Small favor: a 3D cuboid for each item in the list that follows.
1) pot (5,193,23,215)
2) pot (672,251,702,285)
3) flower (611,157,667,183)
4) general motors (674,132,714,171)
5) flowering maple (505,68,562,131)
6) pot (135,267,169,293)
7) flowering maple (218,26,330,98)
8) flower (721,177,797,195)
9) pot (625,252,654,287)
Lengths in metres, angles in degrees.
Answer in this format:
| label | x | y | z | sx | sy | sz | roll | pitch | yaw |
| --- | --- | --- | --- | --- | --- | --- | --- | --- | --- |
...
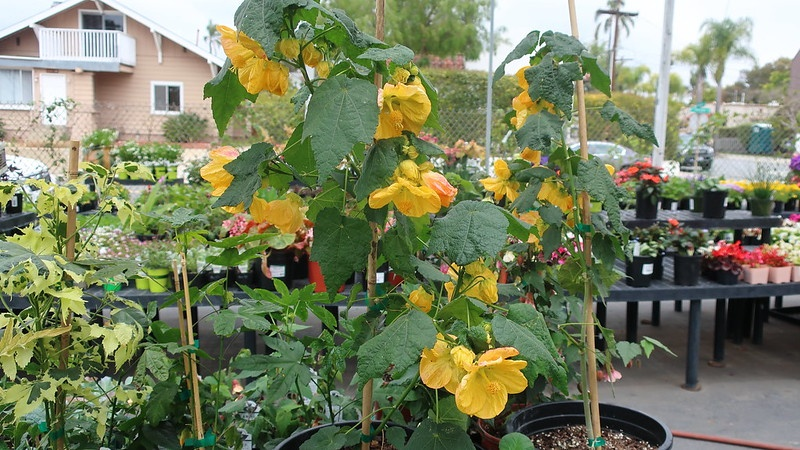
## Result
| label | x | y | z | sx | sy | sz | roll | pitch | yaw |
| --- | --- | --- | --- | --- | --- | --- | --- | --- | --- |
| pot | -4.048 | -0.216 | 7.557 | 0.142 | 0.213 | 0.410 | 1 | 6 | -12 |
| pot | 2.803 | 0.436 | 7.055 | 0.311 | 0.288 | 0.279 | 0 | 0 | -38 |
| flower | 2.662 | -0.564 | 7.853 | 0.384 | 0.208 | 0.396 | 3 | 5 | 30 |
| general motors | 4.804 | -1.128 | 11.621 | 0.473 | 0.545 | 7.028 | 5 | 6 | 22 |
| flowering maple | 0.946 | -0.903 | 5.208 | 0.361 | 0.452 | 0.282 | 5 | 7 | 24 |
| pot | -2.222 | 0.494 | 6.438 | 0.368 | 0.261 | 0.318 | 1 | 1 | -30 |
| flowering maple | -0.868 | -1.101 | 4.907 | 0.758 | 0.447 | 0.288 | 1 | 6 | -13 |
| flower | 4.660 | -0.468 | 9.025 | 0.619 | 0.218 | 0.612 | 1 | 9 | 2 |
| pot | 2.283 | 0.423 | 6.900 | 0.380 | 0.338 | 0.392 | 1 | 3 | 0 |
